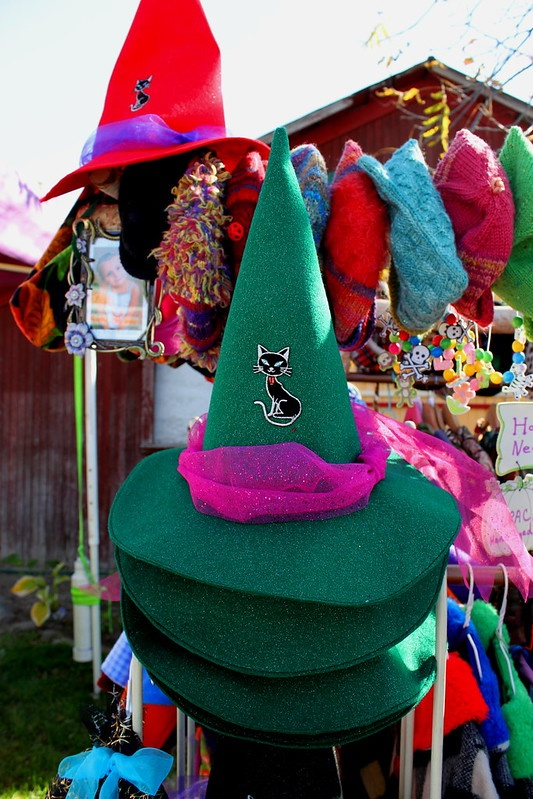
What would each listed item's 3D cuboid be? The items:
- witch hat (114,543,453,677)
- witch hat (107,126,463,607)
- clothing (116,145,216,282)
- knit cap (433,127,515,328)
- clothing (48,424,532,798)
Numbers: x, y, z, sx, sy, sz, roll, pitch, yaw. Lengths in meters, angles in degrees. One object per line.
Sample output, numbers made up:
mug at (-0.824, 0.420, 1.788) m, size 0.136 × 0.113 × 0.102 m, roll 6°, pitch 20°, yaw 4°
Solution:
witch hat at (0.014, 0.288, 1.408) m, size 0.518 × 0.130 × 0.514 m, roll 10°, pitch 6°, yaw -20°
witch hat at (0.004, -0.092, 1.452) m, size 0.687 × 0.682 × 0.680 m, roll 2°, pitch -3°, yaw -29°
clothing at (-0.219, -0.370, 1.635) m, size 0.064 × 0.201 × 0.188 m, roll 11°, pitch 5°, yaw -36°
knit cap at (0.366, -0.301, 1.462) m, size 0.076 × 0.275 × 0.196 m, roll -31°, pitch 31°, yaw -35°
clothing at (0.073, 0.322, 1.933) m, size 0.836 × 0.949 × 1.017 m, roll 0°, pitch -3°, yaw 2°
